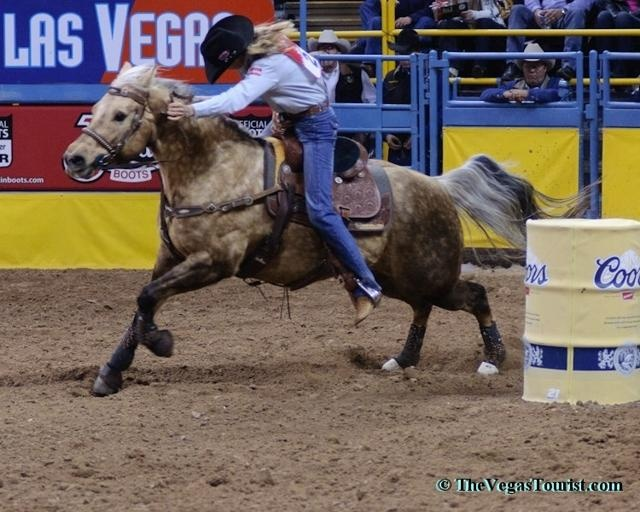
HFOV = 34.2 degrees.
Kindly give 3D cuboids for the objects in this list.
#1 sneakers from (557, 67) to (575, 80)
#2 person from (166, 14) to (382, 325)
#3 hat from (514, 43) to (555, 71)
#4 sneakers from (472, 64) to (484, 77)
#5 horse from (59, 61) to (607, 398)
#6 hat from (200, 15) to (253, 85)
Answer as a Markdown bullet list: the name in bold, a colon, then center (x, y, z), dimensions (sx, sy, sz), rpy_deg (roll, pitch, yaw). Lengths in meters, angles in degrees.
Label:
- **sneakers**: center (2.898, -2.121, 12.202), dimensions (0.136, 0.122, 0.371), rpy_deg (2, -3, 34)
- **person**: center (-0.271, -0.620, 7.570), dimensions (1.451, 2.174, 0.559), rpy_deg (1, 15, 2)
- **hat**: center (2.447, -2.258, 11.697), dimensions (0.412, 0.136, 0.411), rpy_deg (2, -16, 11)
- **sneakers**: center (1.912, -2.226, 12.573), dimensions (0.165, 0.111, 0.153), rpy_deg (6, 12, 16)
- **horse**: center (0.164, -0.232, 8.121), dimensions (4.484, 1.750, 0.852), rpy_deg (2, 8, -26)
- **hat**: center (-0.668, -1.467, 7.447), dimensions (0.378, 0.469, 0.196), rpy_deg (-1, 15, -5)
